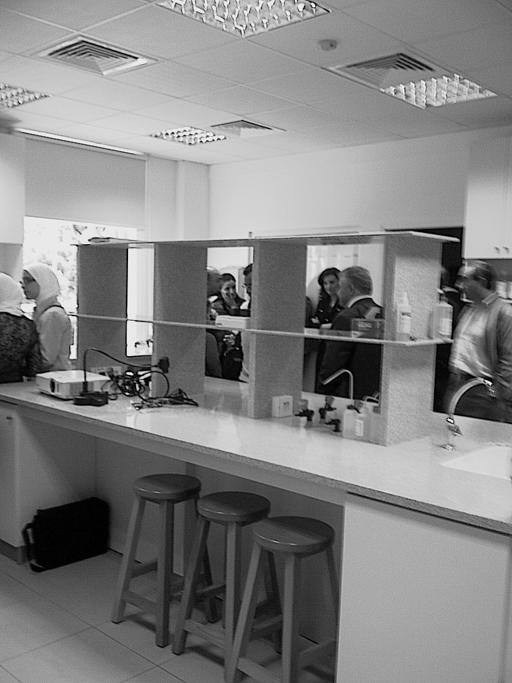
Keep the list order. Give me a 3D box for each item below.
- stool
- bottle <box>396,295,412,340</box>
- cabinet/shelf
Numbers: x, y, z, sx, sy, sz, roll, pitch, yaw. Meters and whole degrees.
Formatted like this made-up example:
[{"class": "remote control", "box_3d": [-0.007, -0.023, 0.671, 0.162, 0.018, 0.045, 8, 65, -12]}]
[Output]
[{"class": "stool", "box_3d": [-0.091, 0.877, 2.228, 0.599, 1.008, 0.591, 11, 13, 44]}, {"class": "bottle", "box_3d": [0.504, -0.074, 1.906, 0.058, 0.175, 0.043, 7, -2, -7]}, {"class": "cabinet/shelf", "box_3d": [-0.224, -0.076, 2.594, 2.229, 0.844, 0.378, 1, 19, 9]}]
